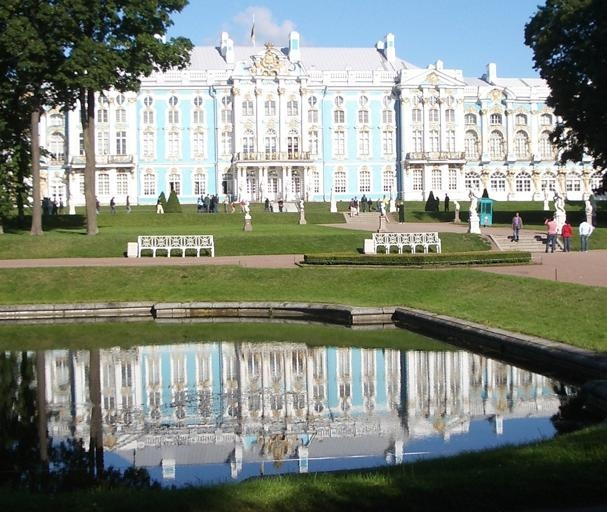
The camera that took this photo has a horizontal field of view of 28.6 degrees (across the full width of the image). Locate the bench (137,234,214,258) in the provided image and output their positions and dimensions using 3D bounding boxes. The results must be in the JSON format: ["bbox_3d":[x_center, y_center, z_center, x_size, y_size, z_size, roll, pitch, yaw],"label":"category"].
[{"bbox_3d":[-5.096,-0.482,47.823,3.017,0.981,2.214,-2,15,-1],"label":"bench"}]

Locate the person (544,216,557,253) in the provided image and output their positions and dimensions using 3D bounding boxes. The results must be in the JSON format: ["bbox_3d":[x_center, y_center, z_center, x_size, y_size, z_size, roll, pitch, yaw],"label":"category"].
[{"bbox_3d":[10.181,-0.943,48.881,0.446,1.439,2.538,2,15,12],"label":"person"}]

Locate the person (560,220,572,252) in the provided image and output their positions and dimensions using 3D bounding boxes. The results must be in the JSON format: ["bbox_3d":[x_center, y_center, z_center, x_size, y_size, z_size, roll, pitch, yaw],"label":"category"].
[{"bbox_3d":[10.712,-0.825,48.558,0.414,1.320,1.963,2,15,13],"label":"person"}]
